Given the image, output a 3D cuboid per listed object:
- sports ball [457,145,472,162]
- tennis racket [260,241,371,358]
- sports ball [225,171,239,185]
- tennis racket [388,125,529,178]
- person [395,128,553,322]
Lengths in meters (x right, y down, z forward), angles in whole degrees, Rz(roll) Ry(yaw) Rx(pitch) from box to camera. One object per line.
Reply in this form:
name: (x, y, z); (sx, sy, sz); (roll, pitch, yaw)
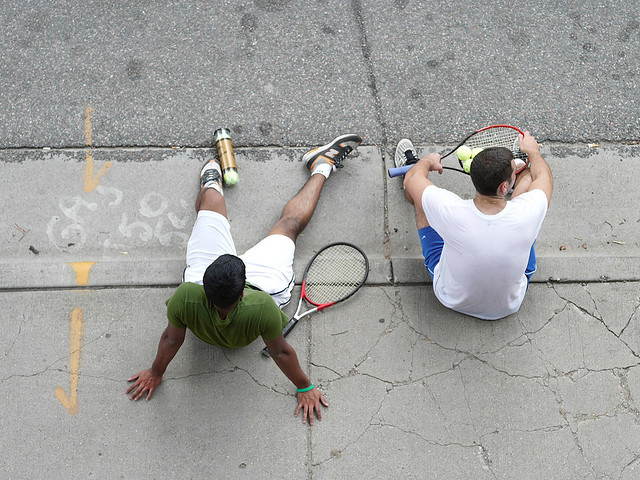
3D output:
sports ball: (1.373, -0.826, 7.304); (0.131, 0.131, 0.133); (11, 9, -2)
tennis racket: (-0.044, 0.549, 7.426); (0.540, 1.347, 0.063); (37, 21, -17)
sports ball: (-0.856, -0.606, 7.582); (0.116, 0.118, 0.123); (-1, 70, 3)
tennis racket: (1.314, -0.863, 7.329); (1.322, 0.547, 0.103); (-11, 25, -4)
person: (1.403, -0.062, 6.999); (1.309, 1.699, 0.957); (4, 32, 5)
